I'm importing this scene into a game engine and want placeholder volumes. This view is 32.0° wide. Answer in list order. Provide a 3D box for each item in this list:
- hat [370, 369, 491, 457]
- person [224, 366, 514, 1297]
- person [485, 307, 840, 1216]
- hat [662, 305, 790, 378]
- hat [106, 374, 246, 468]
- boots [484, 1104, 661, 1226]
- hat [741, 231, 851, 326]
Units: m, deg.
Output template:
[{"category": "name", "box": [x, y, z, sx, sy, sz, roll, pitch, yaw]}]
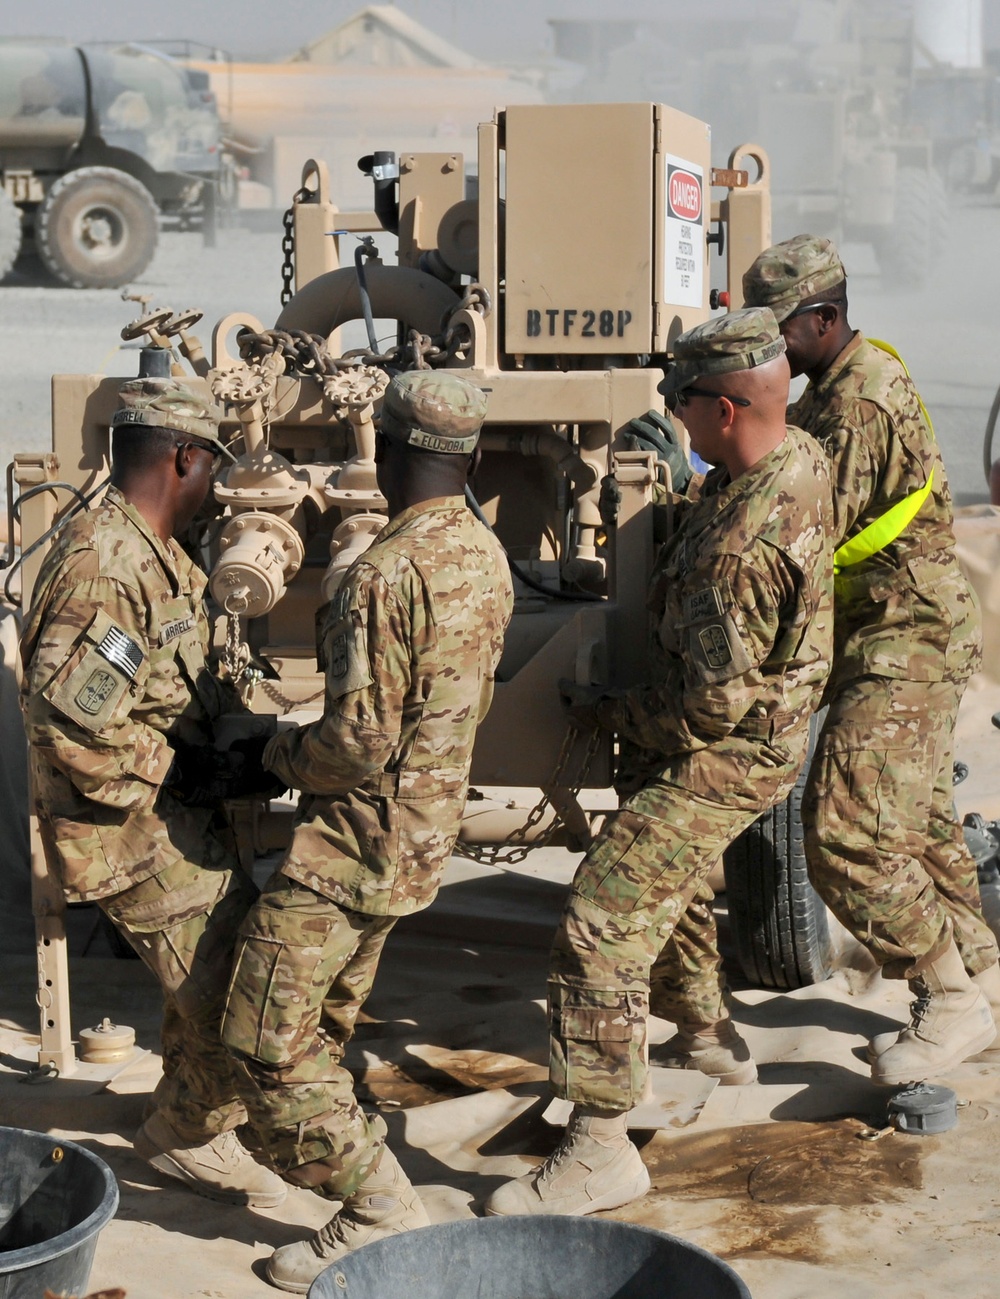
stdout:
[{"category": "hat", "box": [-0.124, -0.434, 3.162, 0.182, 0.094, 0.162, 6, 24, -15]}, {"category": "person", "box": [-0.231, 0.334, 3.161, 0.534, 1.666, 0.317, 0, 6, -13]}, {"category": "person", "box": [0.368, 0.206, 3.601, 0.588, 1.819, 0.805, 3, 6, 13]}, {"category": "hat", "box": [0.444, -0.611, 3.503, 0.145, 0.070, 0.192, -26, 19, -28]}, {"category": "hat", "box": [-0.616, -0.436, 3.340, 0.188, 0.104, 0.130, 21, 0, -7]}, {"category": "boots", "box": [0.159, 1.010, 3.437, 0.435, 0.230, 0.149, -2, 7, -8]}, {"category": "hat", "box": [0.681, -0.844, 4.011, 0.195, 0.126, 0.245, -17, 18, 21]}]
